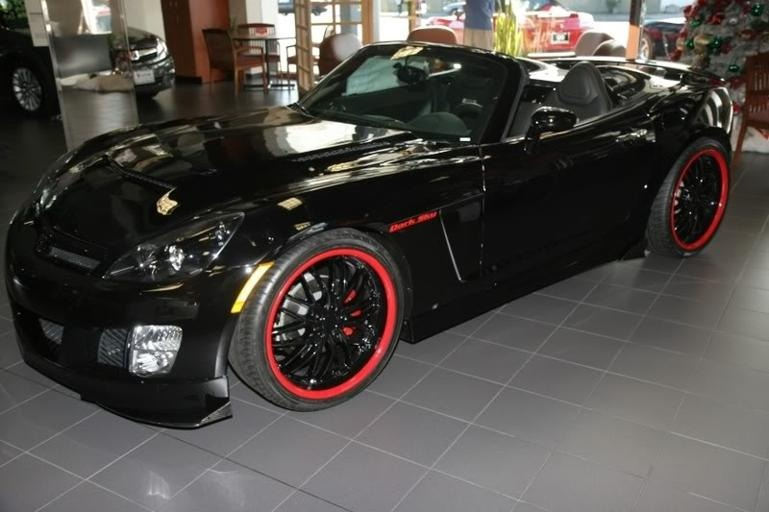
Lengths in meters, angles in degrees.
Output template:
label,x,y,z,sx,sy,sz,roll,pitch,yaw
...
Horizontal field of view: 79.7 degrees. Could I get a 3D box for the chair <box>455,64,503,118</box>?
label,x,y,z,sx,sy,sz,roll,pitch,yaw
chair,0.671,-1.128,3.125,0.264,0.419,0.122,16,15,21

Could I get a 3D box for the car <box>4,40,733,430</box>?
label,x,y,z,sx,sy,sz,roll,pitch,yaw
car,0.360,-0.629,3.465,5.428,1.830,1.981,-16,29,-27
